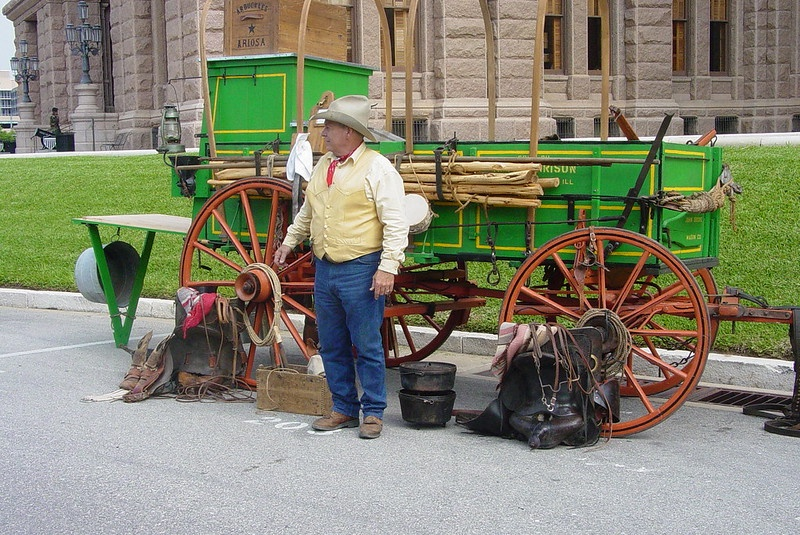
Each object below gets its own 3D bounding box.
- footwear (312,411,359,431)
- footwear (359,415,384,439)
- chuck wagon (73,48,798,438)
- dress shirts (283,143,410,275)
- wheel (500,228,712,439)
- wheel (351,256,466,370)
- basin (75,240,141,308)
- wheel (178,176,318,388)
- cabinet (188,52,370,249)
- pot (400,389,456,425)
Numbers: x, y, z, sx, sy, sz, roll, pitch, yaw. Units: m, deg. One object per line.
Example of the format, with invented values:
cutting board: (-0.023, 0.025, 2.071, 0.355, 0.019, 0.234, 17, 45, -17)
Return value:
footwear: (-0.631, 1.501, 9.374, 0.480, 0.205, 0.179, 4, -5, -20)
footwear: (-0.261, 1.510, 9.047, 0.175, 0.168, 0.421, 0, -8, 4)
chuck wagon: (1.292, -0.347, 10.221, 8.670, 3.719, 3.171, -1, 1, 26)
dress shirts: (-0.499, -0.628, 9.234, 1.528, 1.263, 0.711, 8, 12, 41)
wheel: (2.438, 0.564, 9.804, 2.139, 2.040, 0.758, 12, 11, 32)
wheel: (0.247, 0.546, 10.817, 1.150, 1.112, 1.293, -1, 6, 40)
basin: (-3.842, 0.047, 12.850, 0.710, 0.819, 0.932, 6, 8, 24)
wheel: (-1.632, 0.143, 10.303, 0.721, 2.339, 2.369, 3, -7, -44)
cabinet: (-1.355, -1.398, 12.134, 2.365, 2.502, 2.174, -1, 8, -21)
pot: (0.283, 1.354, 9.318, 0.417, 0.228, 0.402, 0, -9, 0)
